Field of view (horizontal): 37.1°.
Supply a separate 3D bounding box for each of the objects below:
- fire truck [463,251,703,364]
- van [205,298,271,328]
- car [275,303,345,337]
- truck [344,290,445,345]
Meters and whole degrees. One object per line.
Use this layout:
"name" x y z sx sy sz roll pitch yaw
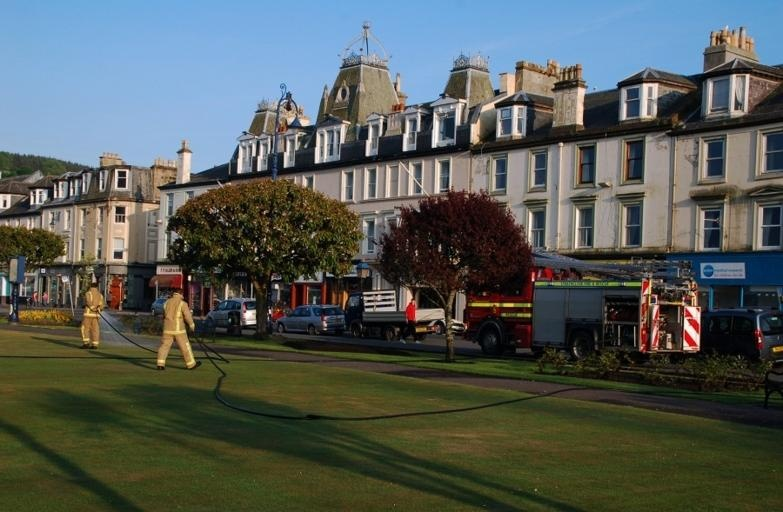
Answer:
"fire truck" 7.363 2.124 47.403 3.343 3.820 9.703 2 -2 -43
"van" -8.368 3.140 62.310 2.838 1.340 1.721 4 2 42
"car" -4.330 3.448 63.456 3.638 1.246 1.691 3 1 44
"truck" -0.291 3.053 59.651 7.208 2.982 3.287 0 -2 -5
